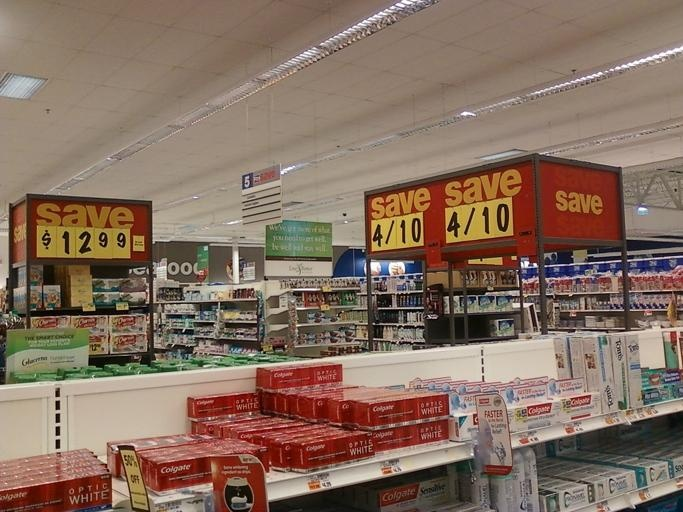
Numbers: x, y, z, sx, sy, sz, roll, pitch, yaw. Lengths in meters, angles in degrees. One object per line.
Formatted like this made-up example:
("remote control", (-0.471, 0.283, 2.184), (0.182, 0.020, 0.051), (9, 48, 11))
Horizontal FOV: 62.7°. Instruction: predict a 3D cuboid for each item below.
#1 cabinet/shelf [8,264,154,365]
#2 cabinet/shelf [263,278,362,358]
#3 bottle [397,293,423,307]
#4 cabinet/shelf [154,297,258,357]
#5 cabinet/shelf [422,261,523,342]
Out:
("cabinet/shelf", (-2.789, 0.618, 5.985), (1.386, 1.203, 0.479), (2, -8, -35))
("cabinet/shelf", (-0.673, 1.282, 11.533), (1.899, 1.580, 0.651), (1, -4, -35))
("bottle", (1.597, 1.025, 13.132), (0.693, 0.304, 0.318), (-2, -3, 32))
("cabinet/shelf", (-3.095, 1.619, 13.287), (2.841, 1.209, 0.396), (-2, -10, 25))
("cabinet/shelf", (1.885, 0.824, 9.014), (1.808, 1.322, 0.585), (-2, -6, -21))
